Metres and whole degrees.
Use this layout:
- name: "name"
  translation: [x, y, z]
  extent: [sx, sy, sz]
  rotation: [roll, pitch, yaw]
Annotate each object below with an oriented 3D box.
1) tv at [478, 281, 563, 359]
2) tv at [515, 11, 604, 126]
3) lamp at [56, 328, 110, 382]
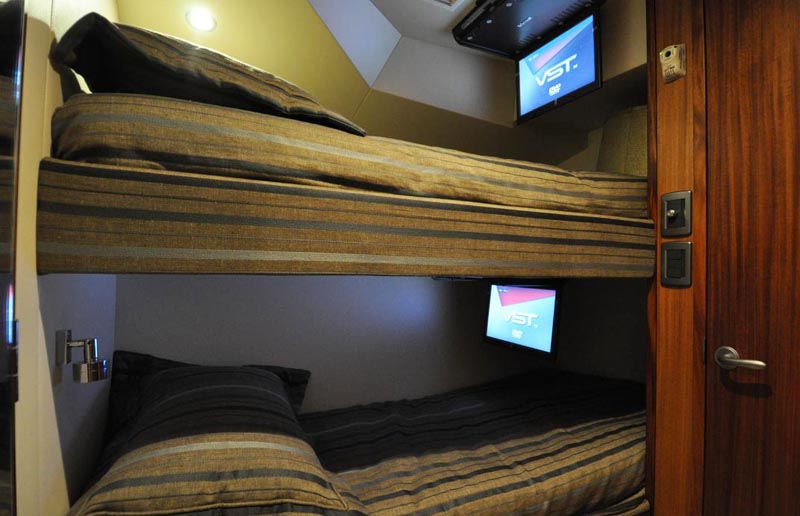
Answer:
- name: "tv"
  translation: [0.758, 0.392, 3.712]
  extent: [0.054, 0.519, 0.448]
  rotation: [15, -100, -45]
- name: "tv"
  translation: [0.835, -1.033, 3.099]
  extent: [0.037, 0.444, 0.327]
  rotation: [2, -100, -31]
- name: "lamp"
  translation: [-1.126, 0.360, 2.142]
  extent: [0.198, 0.144, 0.213]
  rotation: [0, -91, -18]
